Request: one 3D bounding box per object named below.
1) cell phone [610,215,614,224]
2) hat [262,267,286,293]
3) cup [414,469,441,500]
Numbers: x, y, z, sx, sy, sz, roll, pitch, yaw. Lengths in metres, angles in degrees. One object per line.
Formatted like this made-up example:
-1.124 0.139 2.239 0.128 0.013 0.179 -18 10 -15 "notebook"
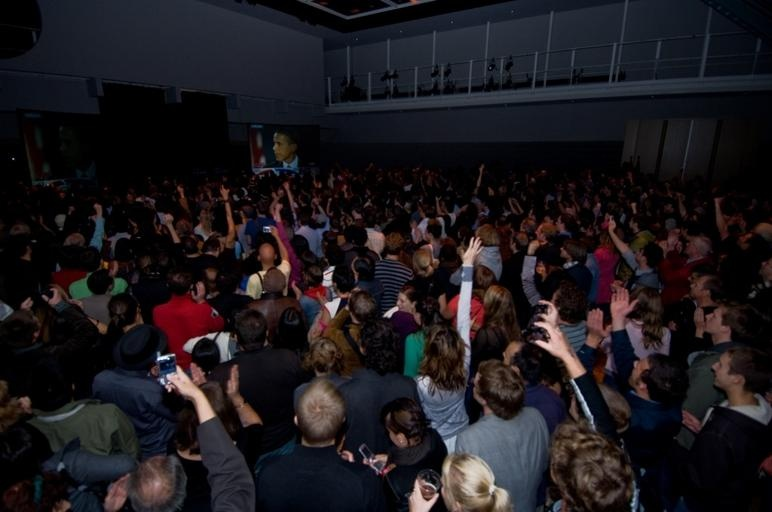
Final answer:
2.738 -0.443 6.194 0.085 0.118 0.032 4 1 -19 "cell phone"
-1.198 0.270 5.421 0.234 0.254 0.188 -3 16 -13 "hat"
0.323 1.731 3.834 0.175 0.185 0.115 1 15 2 "cup"
